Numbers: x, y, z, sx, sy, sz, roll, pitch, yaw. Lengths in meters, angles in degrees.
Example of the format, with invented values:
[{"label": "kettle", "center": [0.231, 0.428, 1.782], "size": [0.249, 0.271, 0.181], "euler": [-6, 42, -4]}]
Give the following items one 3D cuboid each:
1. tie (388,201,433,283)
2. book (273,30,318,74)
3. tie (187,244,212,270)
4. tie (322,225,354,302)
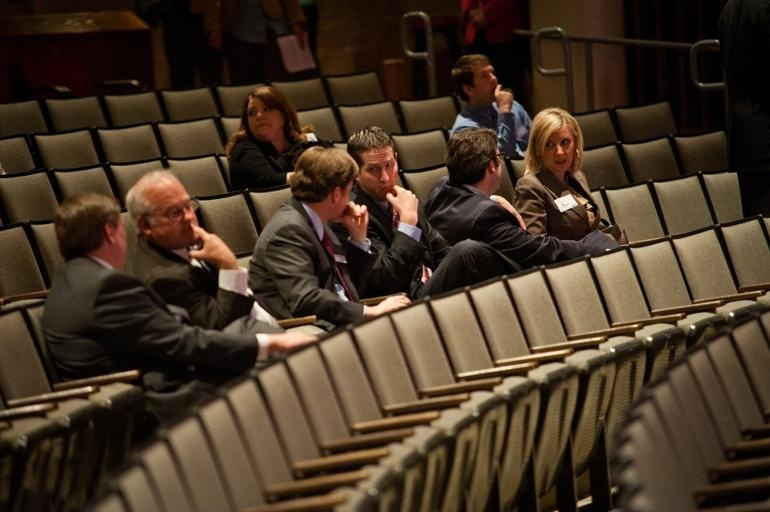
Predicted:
[{"label": "tie", "center": [0.113, -0.052, 2.309], "size": [0.163, 0.237, 0.193], "euler": [-11, 15, -33]}, {"label": "book", "center": [-0.544, -1.215, 3.891], "size": [0.226, 0.261, 0.059], "euler": [-11, -10, -33]}, {"label": "tie", "center": [-0.518, 0.013, 1.796], "size": [0.069, 0.057, 0.023], "euler": [20, 10, 21]}, {"label": "tie", "center": [-0.150, 0.040, 2.062], "size": [0.062, 0.197, 0.136], "euler": [1, 16, 35]}]
